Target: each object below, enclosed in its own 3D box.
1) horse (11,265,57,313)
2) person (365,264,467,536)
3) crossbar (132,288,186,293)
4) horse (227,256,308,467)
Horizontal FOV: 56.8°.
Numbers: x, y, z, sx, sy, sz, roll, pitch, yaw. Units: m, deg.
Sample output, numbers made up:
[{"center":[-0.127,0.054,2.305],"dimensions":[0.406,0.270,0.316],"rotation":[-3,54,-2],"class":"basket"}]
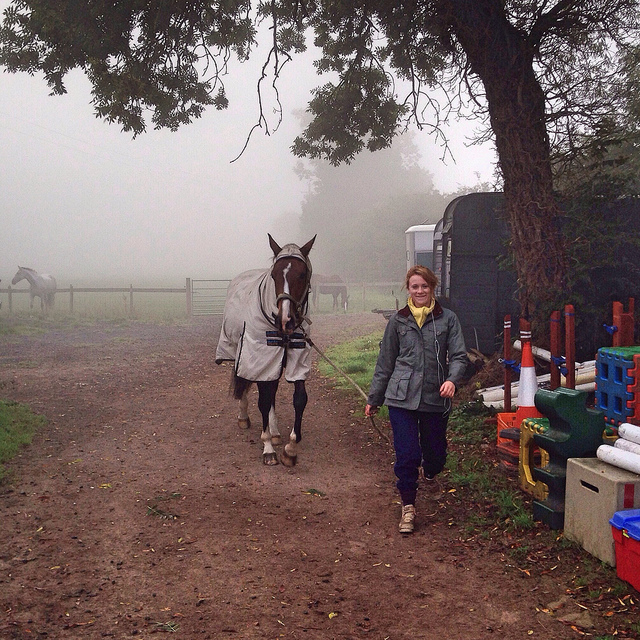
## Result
[{"center":[-10.460,-1.024,22.033],"dimensions":[0.576,1.914,2.241],"rotation":[2,3,14],"class":"horse"},{"center":[0.786,0.634,4.867],"dimensions":[0.788,2.126,0.557],"rotation":[-1,5,0],"class":"person"},{"center":[-6.434,-1.162,23.488],"dimensions":[2.244,0.154,0.892],"rotation":[2,7,31],"class":"crossbar"},{"center":[-0.636,0.459,7.158],"dimensions":[0.566,2.515,2.667],"rotation":[-3,2,-21],"class":"horse"}]
